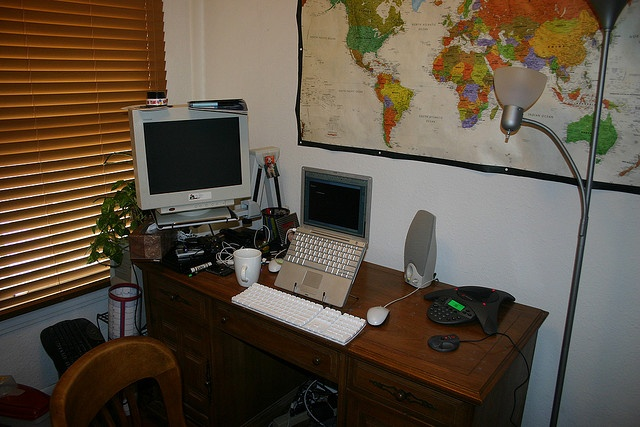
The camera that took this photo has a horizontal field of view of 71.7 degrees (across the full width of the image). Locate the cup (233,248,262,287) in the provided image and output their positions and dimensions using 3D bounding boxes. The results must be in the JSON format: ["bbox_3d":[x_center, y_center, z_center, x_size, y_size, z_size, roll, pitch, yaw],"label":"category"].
[{"bbox_3d":[-0.394,0.314,2.375,0.155,0.171,0.228,3,15,-4],"label":"cup"}]

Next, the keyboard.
[{"bbox_3d":[-0.098,0.488,2.178,0.606,0.059,0.192,15,37,31],"label":"keyboard"}]

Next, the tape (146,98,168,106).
[{"bbox_3d":[-0.909,-0.620,2.488,0.115,0.046,0.089,-10,19,-32],"label":"tape"}]

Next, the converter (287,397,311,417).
[{"bbox_3d":[-0.132,1.207,2.775,0.074,0.033,0.097,14,20,39],"label":"converter"}]

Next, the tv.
[{"bbox_3d":[-0.841,-0.311,2.734,0.692,0.663,0.457,-11,18,-36],"label":"tv"}]

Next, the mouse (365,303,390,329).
[{"bbox_3d":[0.292,0.489,2.172,0.090,0.073,0.167,13,20,37],"label":"mouse"}]
